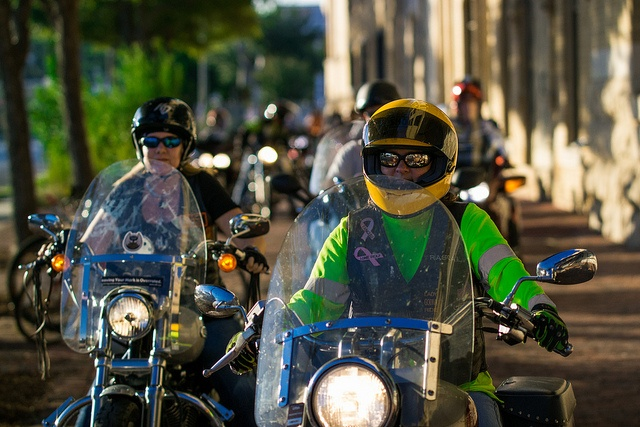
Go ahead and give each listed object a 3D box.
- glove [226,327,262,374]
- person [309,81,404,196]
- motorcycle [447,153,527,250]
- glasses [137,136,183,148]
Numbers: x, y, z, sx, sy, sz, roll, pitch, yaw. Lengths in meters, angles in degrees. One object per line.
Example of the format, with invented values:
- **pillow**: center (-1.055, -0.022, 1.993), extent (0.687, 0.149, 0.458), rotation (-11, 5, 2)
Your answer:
- **glove**: center (-0.789, 1.336, 11.644), extent (0.346, 0.402, 0.281), rotation (-38, -19, 26)
- **person**: center (0.318, -0.889, 15.643), extent (0.984, 0.849, 1.590), rotation (5, -35, 6)
- **motorcycle**: center (2.507, -0.205, 17.634), extent (0.949, 1.352, 1.957), rotation (-5, -2, 10)
- **glasses**: center (-1.713, -0.754, 12.847), extent (0.414, 0.114, 0.081), rotation (0, -2, -14)
